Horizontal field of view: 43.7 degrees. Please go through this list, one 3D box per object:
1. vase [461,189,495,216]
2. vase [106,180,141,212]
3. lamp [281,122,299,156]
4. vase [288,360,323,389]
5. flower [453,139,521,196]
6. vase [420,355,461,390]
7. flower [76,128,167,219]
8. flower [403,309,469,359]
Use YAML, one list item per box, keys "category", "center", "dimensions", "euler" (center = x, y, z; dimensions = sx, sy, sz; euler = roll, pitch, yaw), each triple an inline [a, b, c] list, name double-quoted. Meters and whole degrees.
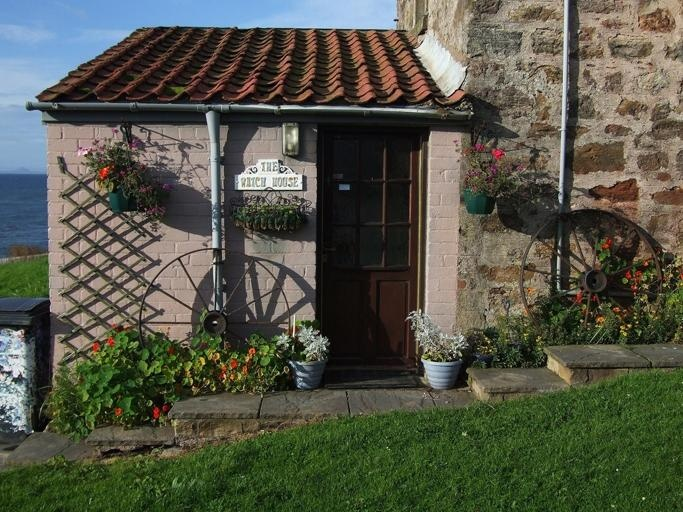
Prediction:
- category: "vase"
  center: [1.350, -0.520, 8.346]
  dimensions: [0.261, 0.172, 0.258]
  euler: [0, -2, 2]
- category: "vase"
  center: [-2.107, -0.567, 8.205]
  dimensions: [0.266, 0.257, 0.268]
  euler: [-1, 19, -7]
- category: "lamp"
  center: [-0.510, -1.191, 8.512]
  dimensions: [0.217, 0.338, 0.216]
  euler: [7, 24, 12]
- category: "vase"
  center: [-0.328, 1.122, 8.138]
  dimensions: [0.281, 0.213, 0.305]
  euler: [-1, -2, 31]
- category: "flower"
  center: [1.258, -0.869, 8.501]
  dimensions: [0.617, 0.381, 0.758]
  euler: [-8, -11, 41]
- category: "vase"
  center: [0.975, 1.133, 8.331]
  dimensions: [0.309, 0.206, 0.306]
  euler: [0, -6, -1]
- category: "flower"
  center: [-2.108, -0.753, 8.283]
  dimensions: [0.847, 0.822, 0.350]
  euler: [-1, -4, -17]
- category: "flower"
  center: [0.946, 0.786, 8.505]
  dimensions: [0.628, 0.503, 0.537]
  euler: [-3, -4, 17]
